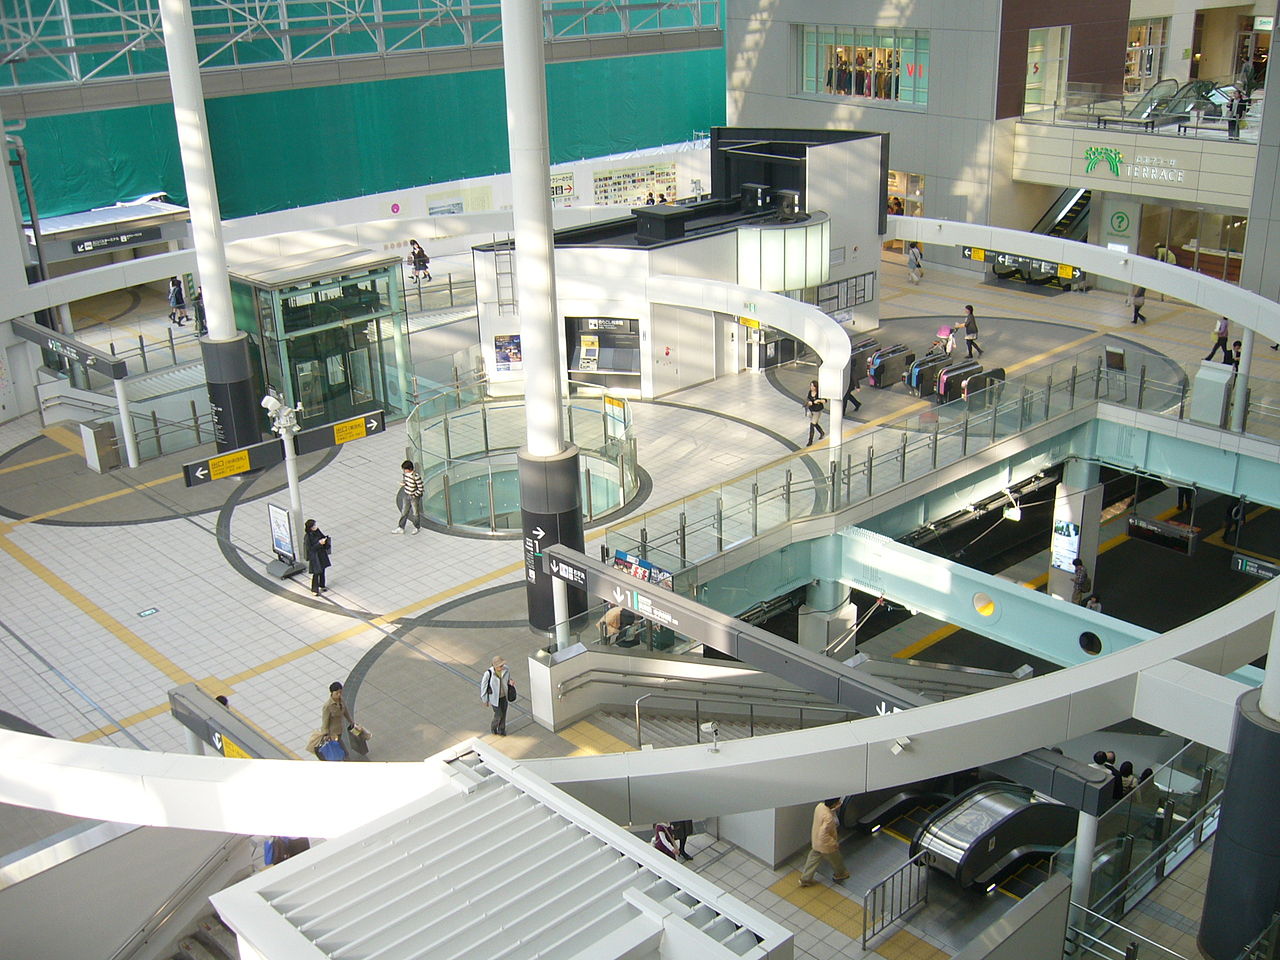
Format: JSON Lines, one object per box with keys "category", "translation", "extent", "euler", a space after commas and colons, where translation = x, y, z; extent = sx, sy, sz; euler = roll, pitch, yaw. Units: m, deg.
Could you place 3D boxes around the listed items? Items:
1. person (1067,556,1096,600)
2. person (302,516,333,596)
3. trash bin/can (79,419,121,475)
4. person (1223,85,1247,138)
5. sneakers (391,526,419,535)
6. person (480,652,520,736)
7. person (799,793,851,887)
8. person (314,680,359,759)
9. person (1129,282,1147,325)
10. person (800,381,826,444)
{"category": "person", "translation": [11.863, 2.642, 29.168], "extent": [0.531, 0.978, 1.238], "euler": [-2, 5, -3]}
{"category": "person", "translation": [-6.422, 1.429, 21.496], "extent": [0.507, 1.638, 0.732], "euler": [-11, 24, -15]}
{"category": "trash bin/can", "translation": [-13.415, -0.774, 26.893], "extent": [0.863, 1.268, 1.467], "euler": [-7, 1, 0]}
{"category": "person", "translation": [19.432, -11.859, 35.234], "extent": [0.552, 1.422, 1.647], "euler": [8, 24, 26]}
{"category": "sneakers", "translation": [-5.161, 1.122, 23.873], "extent": [0.605, 0.191, 0.163], "euler": [3, 18, 1]}
{"category": "person", "translation": [-2.208, 3.268, 16.874], "extent": [0.466, 1.426, 0.857], "euler": [-8, 23, -8]}
{"category": "person", "translation": [2.516, 4.865, 14.796], "extent": [0.557, 1.491, 0.572], "euler": [10, 27, 29]}
{"category": "person", "translation": [-4.554, 3.615, 16.240], "extent": [0.529, 1.420, 0.688], "euler": [-1, 32, -5]}
{"category": "person", "translation": [16.831, -5.954, 36.366], "extent": [0.481, 1.180, 2.024], "euler": [6, 22, 22]}
{"category": "person", "translation": [4.387, -1.701, 27.107], "extent": [0.439, 1.545, 1.279], "euler": [0, 22, 10]}
